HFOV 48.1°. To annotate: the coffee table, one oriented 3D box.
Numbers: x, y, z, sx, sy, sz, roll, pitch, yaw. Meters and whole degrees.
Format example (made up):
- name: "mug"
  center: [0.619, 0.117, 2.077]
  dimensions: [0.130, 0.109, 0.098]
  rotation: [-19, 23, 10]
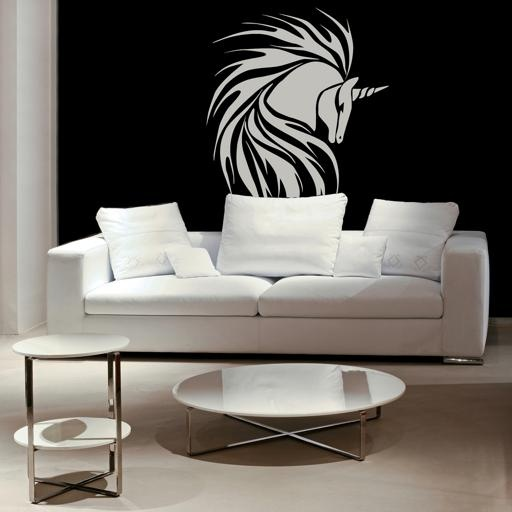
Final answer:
- name: "coffee table"
  center: [0.133, 0.615, 2.301]
  dimensions: [0.915, 0.247, 0.848]
  rotation: [-1, 3, -10]
